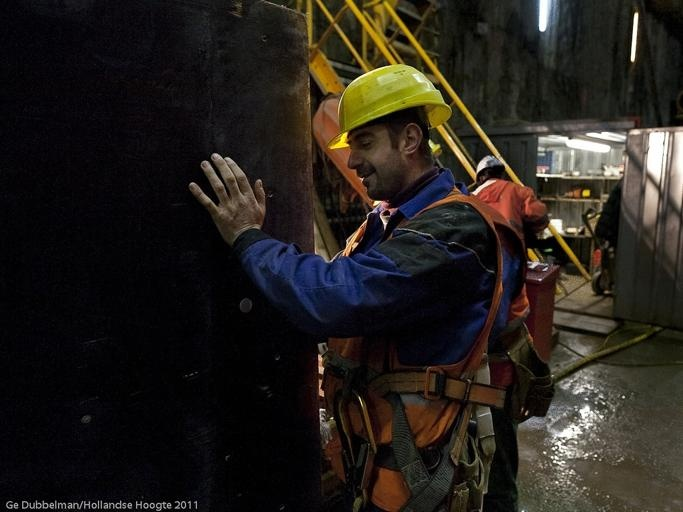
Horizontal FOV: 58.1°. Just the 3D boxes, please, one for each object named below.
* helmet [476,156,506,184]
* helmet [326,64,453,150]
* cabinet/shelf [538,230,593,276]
[{"bbox_3d":[1.641,-0.946,6.736,0.227,0.337,0.324,1,13,20],"label":"helmet"},{"bbox_3d":[0.221,-0.726,2.695,0.466,0.276,0.355,-10,-10,-14],"label":"helmet"},{"bbox_3d":[3.531,-0.078,9.599,0.668,0.714,0.388,-1,4,1],"label":"cabinet/shelf"}]
